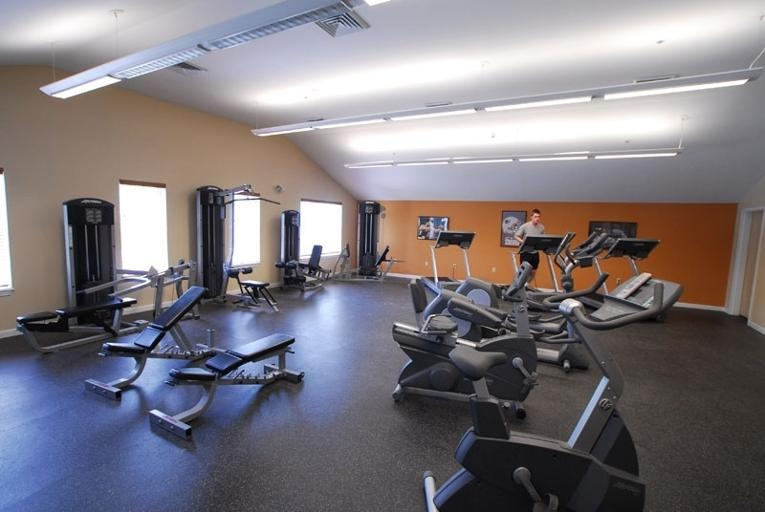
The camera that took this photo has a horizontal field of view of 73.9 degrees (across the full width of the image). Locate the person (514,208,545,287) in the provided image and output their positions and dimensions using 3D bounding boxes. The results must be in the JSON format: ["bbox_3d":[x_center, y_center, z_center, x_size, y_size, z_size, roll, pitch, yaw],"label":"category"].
[{"bbox_3d":[2.896,-0.065,9.830,0.727,1.548,0.622,4,0,-18],"label":"person"}]
